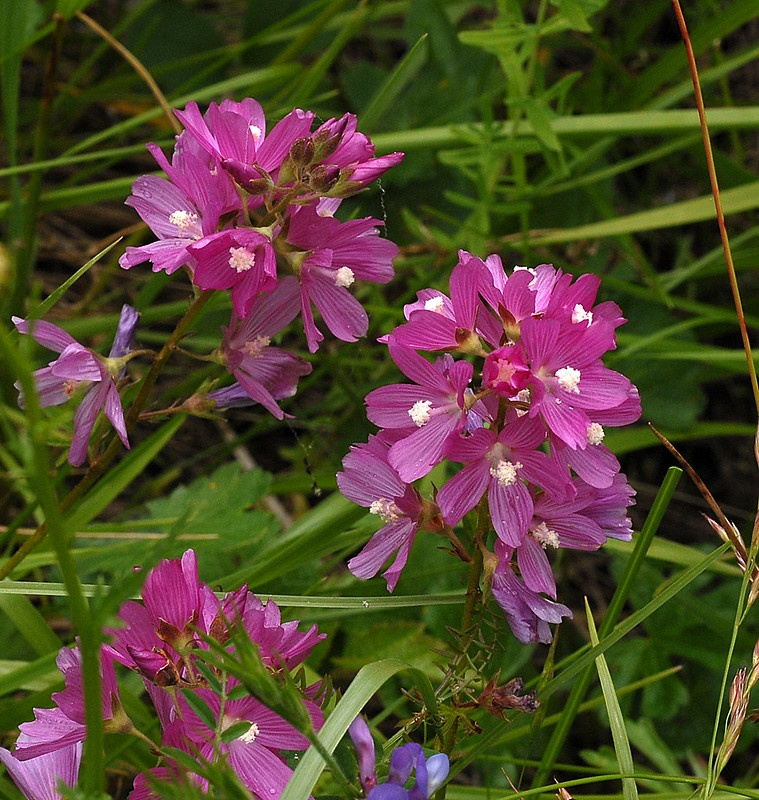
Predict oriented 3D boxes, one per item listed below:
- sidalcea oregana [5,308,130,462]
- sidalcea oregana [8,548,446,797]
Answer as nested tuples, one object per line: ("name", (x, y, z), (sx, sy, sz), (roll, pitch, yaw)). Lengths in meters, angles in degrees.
("sidalcea oregana", (-0.457, -0.043, 1.351), (0.186, 0.223, 0.190), (-18, 95, -40))
("sidalcea oregana", (-0.172, 0.362, 1.102), (0.508, 0.226, 0.358), (0, 61, -27))
